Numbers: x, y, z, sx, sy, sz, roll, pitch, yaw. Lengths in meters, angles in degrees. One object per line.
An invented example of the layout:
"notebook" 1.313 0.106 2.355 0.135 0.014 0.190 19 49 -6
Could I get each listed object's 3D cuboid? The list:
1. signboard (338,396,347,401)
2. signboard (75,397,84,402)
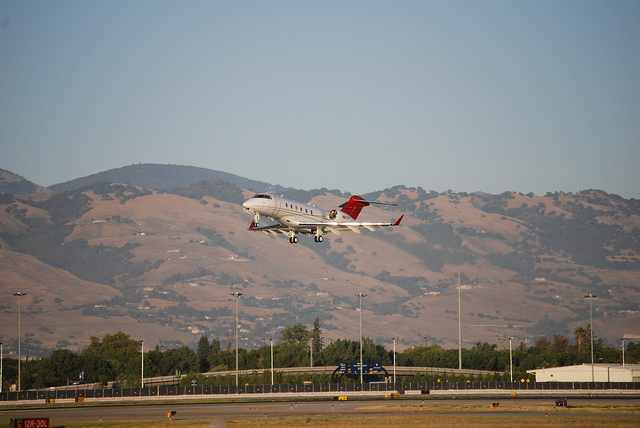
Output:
"signboard" 12.807 104.073 653.691 3.997 2.890 4.754 -9 -18 26
"signboard" -136.918 105.183 655.297 2.405 2.447 4.365 -4 -5 38
